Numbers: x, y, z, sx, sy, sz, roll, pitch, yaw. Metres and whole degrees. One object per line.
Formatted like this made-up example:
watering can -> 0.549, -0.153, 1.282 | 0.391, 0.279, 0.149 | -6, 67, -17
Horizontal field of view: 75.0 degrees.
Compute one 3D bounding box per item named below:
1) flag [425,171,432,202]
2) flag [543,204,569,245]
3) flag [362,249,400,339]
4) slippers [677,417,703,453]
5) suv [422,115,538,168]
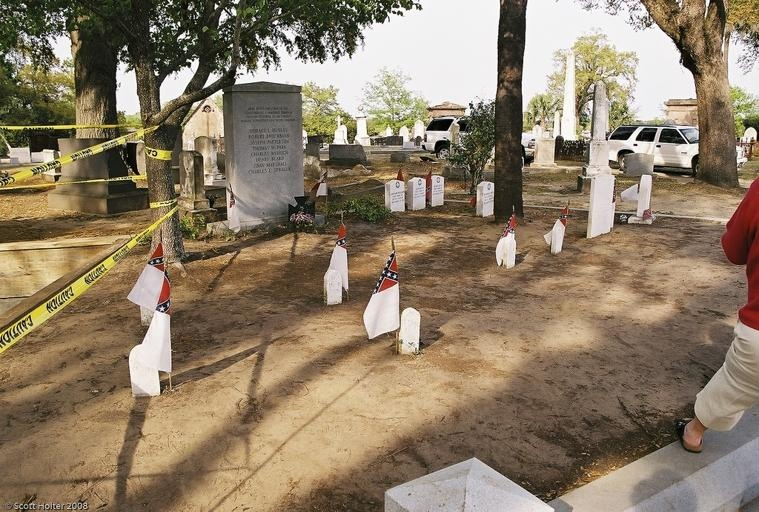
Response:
flag -> 1.551, -2.107, 15.969 | 0.190, 0.935, 0.478 | 0, 15, 6
flag -> 4.306, -0.733, 12.165 | 0.146, 0.556, 1.342 | 20, -6, 17
flag -> 0.040, 0.506, 6.362 | 0.541, 1.113, 0.199 | -13, 19, -37
slippers -> 2.859, 1.667, 4.575 | 0.136, 0.380, 0.156 | -27, 19, 1
suv -> 5.249, -6.353, 30.138 | 7.945, 3.397, 3.967 | 3, 16, 19
